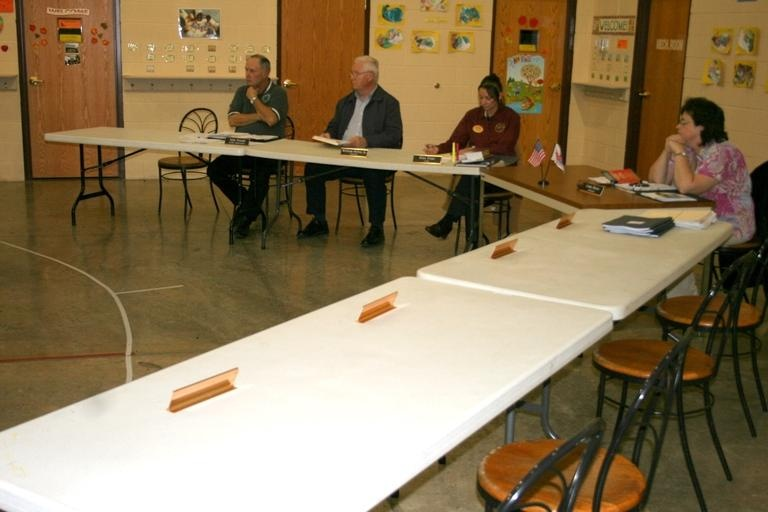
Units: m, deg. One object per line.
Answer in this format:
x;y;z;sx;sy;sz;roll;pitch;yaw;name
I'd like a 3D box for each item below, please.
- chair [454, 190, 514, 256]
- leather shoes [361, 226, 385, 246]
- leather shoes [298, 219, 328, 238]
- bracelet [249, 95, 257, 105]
0.984;-0.352;5.757;0.603;0.733;0.598;0;18;2;chair
-0.091;-0.179;5.709;0.258;0.171;0.111;-2;4;-42;leather shoes
-0.656;-0.262;5.942;0.118;0.143;0.327;7;8;43;leather shoes
-1.268;-1.545;6.184;0.063;0.096;0.090;11;16;20;bracelet
